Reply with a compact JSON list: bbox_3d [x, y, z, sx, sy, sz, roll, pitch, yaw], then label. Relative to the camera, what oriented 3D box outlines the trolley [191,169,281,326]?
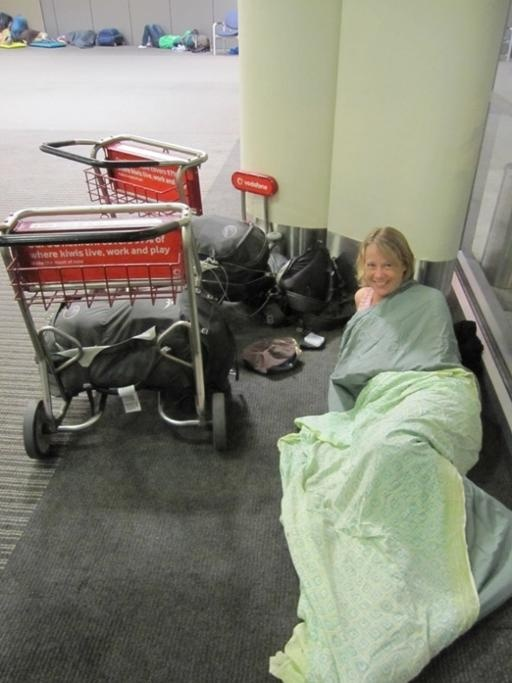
[{"bbox_3d":[-0.161,-0.549,2.812,0.434,0.634,0.563,-16,36,-33],"label":"trolley"}]

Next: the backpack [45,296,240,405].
[{"bbox_3d":[-0.415,-0.068,1.992,0.749,0.271,0.511,0,37,14],"label":"backpack"}]

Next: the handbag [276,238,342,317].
[{"bbox_3d":[0.294,-0.330,2.768,0.163,0.287,0.370,-12,44,51],"label":"handbag"}]

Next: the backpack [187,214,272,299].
[{"bbox_3d":[-0.138,-0.414,2.812,0.464,0.394,0.353,17,40,23],"label":"backpack"}]

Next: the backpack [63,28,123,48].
[{"bbox_3d":[-3.497,-6.540,11.594,1.030,0.274,0.531,1,59,1],"label":"backpack"}]

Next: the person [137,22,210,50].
[{"bbox_3d":[-1.742,-6.388,11.419,1.567,0.463,0.633,20,62,17],"label":"person"}]

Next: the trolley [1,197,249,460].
[{"bbox_3d":[-0.426,-0.180,1.898,0.792,0.845,0.938,1,38,-5],"label":"trolley"}]
